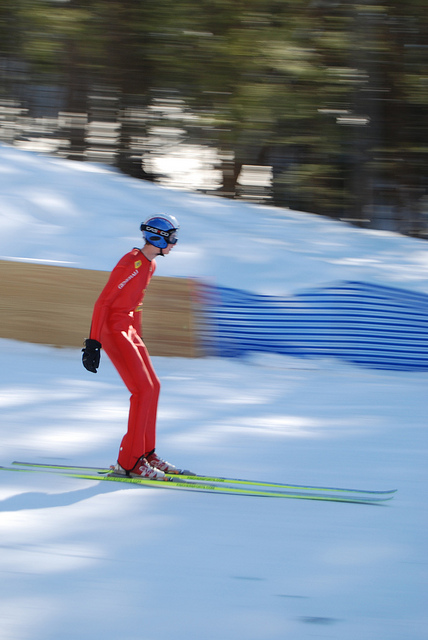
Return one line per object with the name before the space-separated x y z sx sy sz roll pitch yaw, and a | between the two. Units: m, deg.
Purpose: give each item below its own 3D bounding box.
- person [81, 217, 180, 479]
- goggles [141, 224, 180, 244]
person | -0.310 0.083 4.272 0.505 1.287 1.155 7 13 5
goggles | -0.254 -0.416 3.884 0.150 0.061 0.101 16 5 -11
